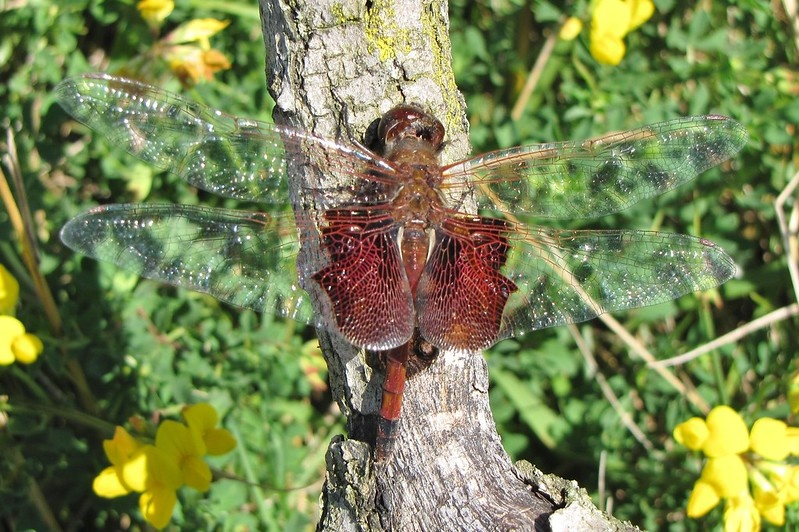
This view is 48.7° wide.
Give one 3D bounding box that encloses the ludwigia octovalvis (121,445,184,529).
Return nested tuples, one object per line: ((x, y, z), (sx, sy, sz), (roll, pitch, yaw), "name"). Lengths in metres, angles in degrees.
((-0.894, 0.787, 3.206), (0.198, 0.316, 0.074), (-7, 1, 6), "ludwigia octovalvis")

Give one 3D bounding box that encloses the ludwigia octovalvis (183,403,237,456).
((-0.702, 0.601, 3.252), (0.170, 0.189, 0.053), (-25, 16, 4), "ludwigia octovalvis")

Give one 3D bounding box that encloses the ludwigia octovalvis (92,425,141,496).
((-1.041, 0.721, 3.257), (0.160, 0.273, 0.073), (11, 9, 22), "ludwigia octovalvis")

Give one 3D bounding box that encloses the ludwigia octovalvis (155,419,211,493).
((-0.753, 0.686, 3.296), (0.204, 0.255, 0.262), (-12, 30, -29), "ludwigia octovalvis")
